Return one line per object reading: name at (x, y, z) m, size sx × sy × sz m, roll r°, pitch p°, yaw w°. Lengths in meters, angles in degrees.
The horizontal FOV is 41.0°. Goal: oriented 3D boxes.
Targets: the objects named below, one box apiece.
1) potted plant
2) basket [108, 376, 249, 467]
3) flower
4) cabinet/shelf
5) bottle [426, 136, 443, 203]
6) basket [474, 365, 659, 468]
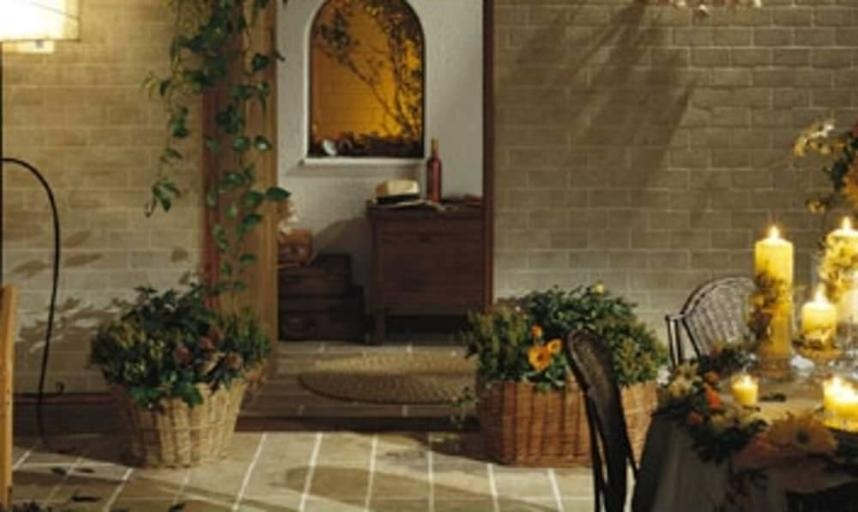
potted plant at (-1.581, 0.775, 7.212) m, size 1.134 × 1.101 × 1.137 m, roll -2°, pitch 3°, yaw -23°
basket at (-1.474, 1.161, 7.055) m, size 0.554 × 0.351 × 0.517 m, roll 20°, pitch -36°, yaw -40°
flower at (0.767, 0.485, 6.998) m, size 0.830 × 0.322 × 0.754 m, roll -1°, pitch 6°, yaw -5°
cabinet/shelf at (0.034, -0.063, 9.698) m, size 1.058 × 1.326 × 1.353 m, roll -1°, pitch 26°, yaw -2°
bottle at (0.040, -0.720, 9.784) m, size 0.137 × 0.542 × 0.315 m, roll 1°, pitch 4°, yaw 1°
basket at (0.776, 0.976, 6.911) m, size 0.782 × 0.358 × 0.590 m, roll 1°, pitch -4°, yaw 0°
